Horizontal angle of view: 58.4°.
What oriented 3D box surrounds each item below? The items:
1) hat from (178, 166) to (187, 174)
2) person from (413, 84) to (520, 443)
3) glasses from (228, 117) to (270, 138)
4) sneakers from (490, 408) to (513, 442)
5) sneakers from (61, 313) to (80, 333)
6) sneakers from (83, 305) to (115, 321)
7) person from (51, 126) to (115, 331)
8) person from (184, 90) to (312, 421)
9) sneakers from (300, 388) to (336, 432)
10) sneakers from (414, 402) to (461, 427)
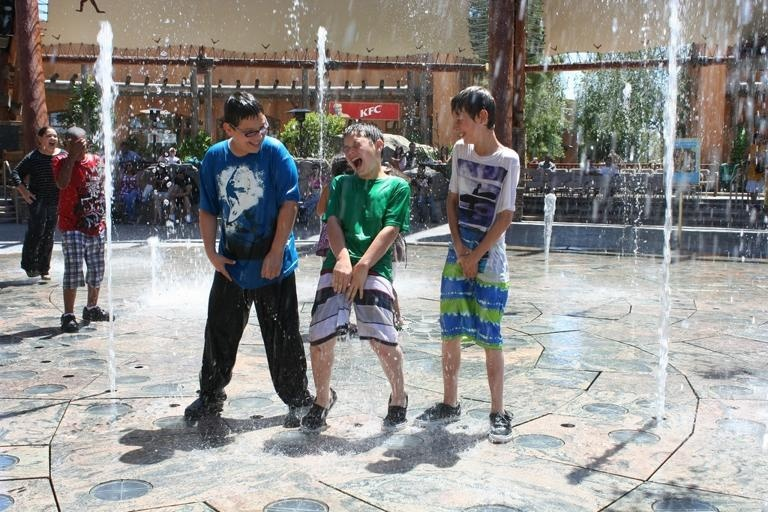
[{"bbox_3d":[-5.030,-2.161,17.311,0.171,0.186,0.044,10,6,8],"label":"hat"},{"bbox_3d":[0.618,0.025,4.778,0.634,2.330,0.583,4,12,19],"label":"person"},{"bbox_3d":[-0.870,-0.842,4.656,0.168,0.053,0.171,10,32,43],"label":"glasses"},{"bbox_3d":[0.807,1.151,4.751,0.159,0.165,0.234,2,12,8],"label":"sneakers"},{"bbox_3d":[-3.116,0.642,6.873,0.166,0.181,0.253,-6,14,-25],"label":"sneakers"},{"bbox_3d":[-2.920,0.587,7.071,0.380,0.197,0.199,1,8,-16],"label":"sneakers"},{"bbox_3d":[-3.084,-0.308,7.057,0.518,1.979,0.856,-5,13,-23],"label":"person"},{"bbox_3d":[-0.947,0.026,4.819,0.866,2.275,0.520,-1,11,-7],"label":"person"},{"bbox_3d":[-0.453,1.074,4.853,0.270,0.238,0.203,-4,13,-18],"label":"sneakers"},{"bbox_3d":[0.397,1.117,4.947,0.348,0.153,0.133,-1,1,-11],"label":"sneakers"}]
